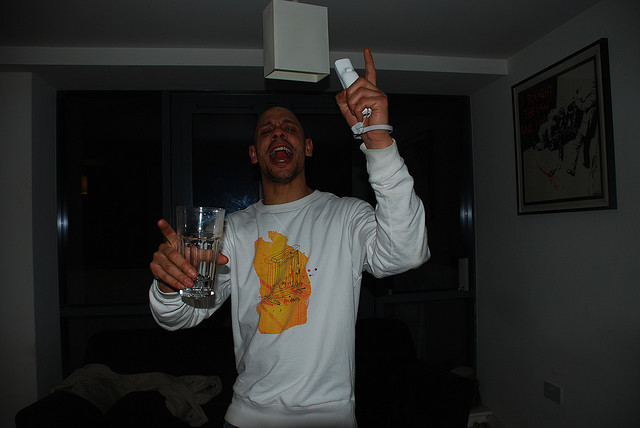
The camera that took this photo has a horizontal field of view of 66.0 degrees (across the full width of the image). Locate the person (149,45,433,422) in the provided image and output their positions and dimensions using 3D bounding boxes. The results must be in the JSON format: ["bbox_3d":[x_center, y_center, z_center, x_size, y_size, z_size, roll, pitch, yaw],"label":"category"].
[{"bbox_3d":[-0.106,0.168,2.813,1.411,1.986,0.611,-2,-4,15],"label":"person"}]

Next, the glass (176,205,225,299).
[{"bbox_3d":[-0.636,0.185,2.532,0.244,0.425,0.243,6,-6,-42],"label":"glass"}]
